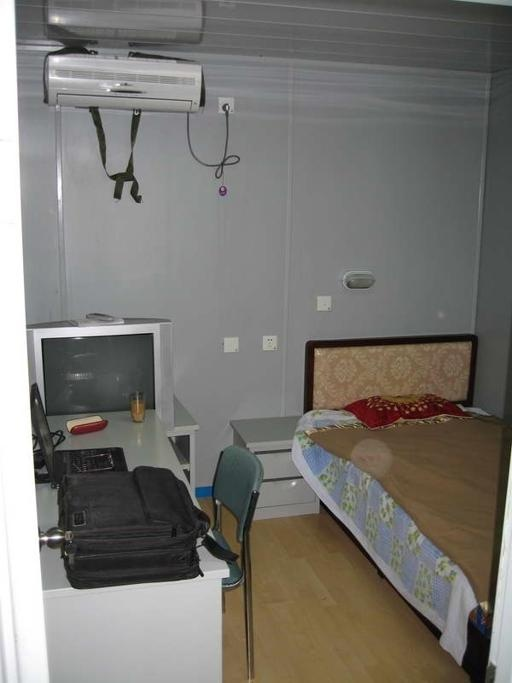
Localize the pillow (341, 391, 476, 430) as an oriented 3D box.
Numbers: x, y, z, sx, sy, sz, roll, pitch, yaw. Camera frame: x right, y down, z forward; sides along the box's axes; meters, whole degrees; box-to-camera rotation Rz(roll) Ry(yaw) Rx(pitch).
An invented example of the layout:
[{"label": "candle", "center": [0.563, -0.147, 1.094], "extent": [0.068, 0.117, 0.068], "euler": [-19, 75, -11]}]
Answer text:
[{"label": "pillow", "center": [0.971, 0.436, 3.624], "extent": [0.755, 0.089, 0.385], "euler": [-3, 11, -22]}]

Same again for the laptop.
[{"label": "laptop", "center": [-0.693, 0.448, 2.243], "extent": [0.361, 0.364, 0.462], "euler": [-1, 17, -17]}]

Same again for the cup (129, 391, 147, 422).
[{"label": "cup", "center": [-0.579, 0.317, 2.759], "extent": [0.109, 0.196, 0.111], "euler": [-1, 6, 0]}]

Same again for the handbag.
[{"label": "handbag", "center": [-0.345, 0.516, 1.554], "extent": [0.312, 0.125, 0.349], "euler": [0, 11, -16]}]
